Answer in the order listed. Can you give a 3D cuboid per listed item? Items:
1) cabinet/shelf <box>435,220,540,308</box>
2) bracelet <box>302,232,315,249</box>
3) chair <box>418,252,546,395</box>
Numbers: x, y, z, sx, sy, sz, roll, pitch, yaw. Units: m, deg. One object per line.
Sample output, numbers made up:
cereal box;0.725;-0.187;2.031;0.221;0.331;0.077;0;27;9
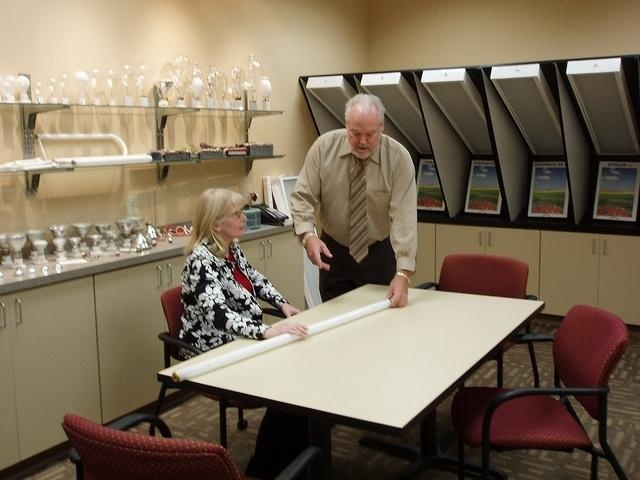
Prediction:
cabinet/shelf;1.545;0.185;4.011;0.698;0.831;0.278;1;0;20
bracelet;-0.072;0.005;2.853;0.052;0.086;0.079;26;5;6
chair;1.237;0.505;3.553;0.820;1.377;0.865;2;4;32
